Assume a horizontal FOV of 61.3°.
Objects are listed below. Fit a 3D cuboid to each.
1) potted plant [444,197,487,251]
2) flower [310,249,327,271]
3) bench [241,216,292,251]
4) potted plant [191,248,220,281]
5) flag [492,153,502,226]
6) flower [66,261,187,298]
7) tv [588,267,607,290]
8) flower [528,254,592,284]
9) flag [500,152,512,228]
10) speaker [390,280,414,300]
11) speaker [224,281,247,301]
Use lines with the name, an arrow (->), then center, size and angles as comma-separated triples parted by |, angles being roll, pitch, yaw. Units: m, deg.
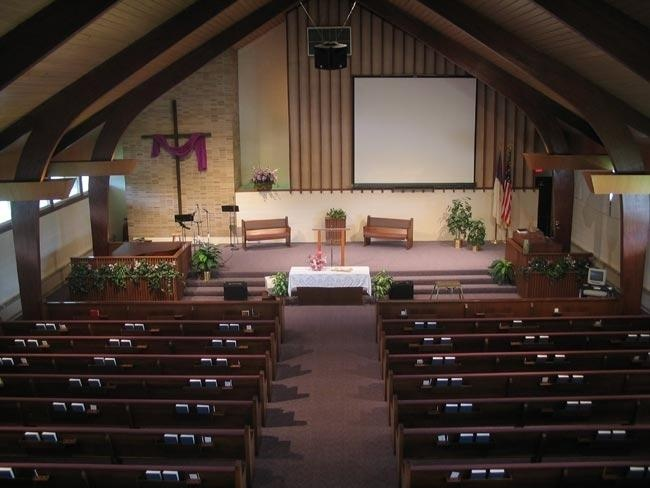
potted plant -> 4.447, -0.627, 17.590 | 1.109, 1.540, 1.481 | 3, 9, 12
flower -> -0.207, 0.444, 14.085 | 0.395, 0.526, 0.511 | 1, 11, -1
bench -> -1.893, -0.335, 17.586 | 1.510, 0.957, 1.388 | 0, 9, -9
potted plant -> -3.381, 0.545, 15.440 | 0.804, 0.848, 0.834 | 6, 8, 18
flag -> 5.565, -1.709, 17.811 | 0.317, 2.405, 0.610 | 3, 9, 17
flower -> -5.095, 0.914, 13.974 | 2.143, 0.900, 0.597 | 2, 20, -2
tv -> 6.811, 0.871, 13.895 | 0.439, 0.487, 0.290 | 4, 9, 17
flower -> 5.915, 0.577, 13.836 | 1.191, 0.391, 0.813 | -3, 34, -2
flag -> 5.807, -1.721, 17.704 | 0.372, 2.510, 0.958 | 3, 9, 18
speaker -> 1.864, 1.154, 13.660 | 0.445, 0.303, 0.460 | -1, 11, 3
speaker -> -2.252, 1.180, 13.705 | 0.632, 0.576, 0.381 | 2, 26, -1
